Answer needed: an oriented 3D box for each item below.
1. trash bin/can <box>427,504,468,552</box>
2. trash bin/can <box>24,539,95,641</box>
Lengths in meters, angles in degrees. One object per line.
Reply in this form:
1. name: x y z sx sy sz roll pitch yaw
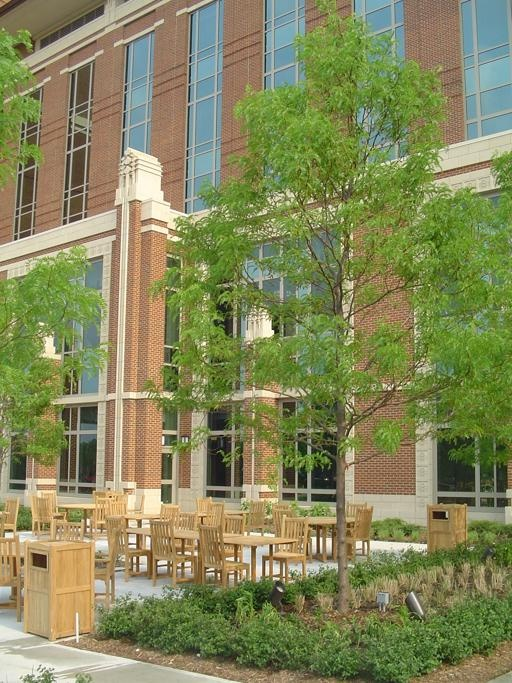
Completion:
1. trash bin/can: 3.722 3.692 18.791 1.048 1.065 1.011 2 -9 -1
2. trash bin/can: -2.446 3.036 12.075 0.900 1.091 0.881 -3 -7 14
